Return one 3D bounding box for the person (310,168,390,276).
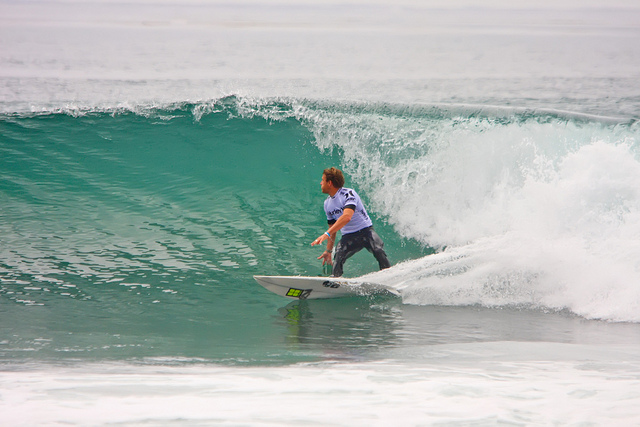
[{"bbox_3d":[0.657,0.214,15.562,1.337,2.293,1.023,-3,28,-1],"label":"person"}]
